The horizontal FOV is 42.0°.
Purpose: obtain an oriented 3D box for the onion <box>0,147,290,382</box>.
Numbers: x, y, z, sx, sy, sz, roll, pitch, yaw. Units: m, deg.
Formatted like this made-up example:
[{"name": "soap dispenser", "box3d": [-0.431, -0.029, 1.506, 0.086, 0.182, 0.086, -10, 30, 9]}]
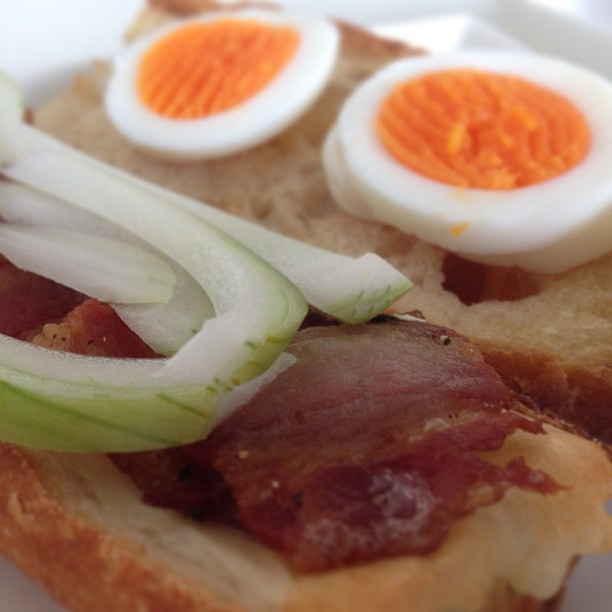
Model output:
[{"name": "onion", "box3d": [-0.196, -0.063, 1.008, 0.409, 0.068, 0.225, 26, 57, 25]}]
